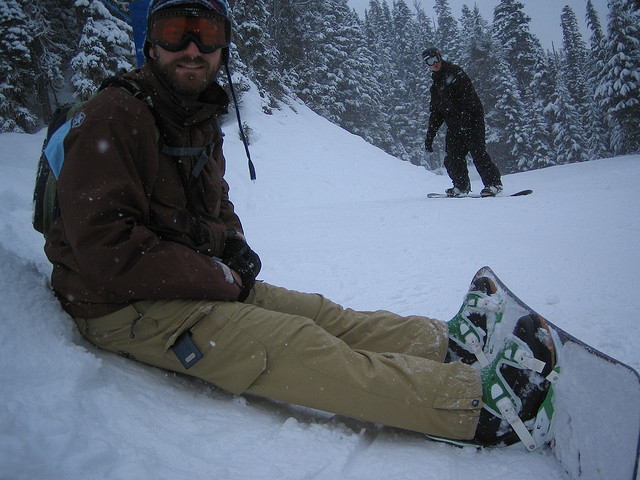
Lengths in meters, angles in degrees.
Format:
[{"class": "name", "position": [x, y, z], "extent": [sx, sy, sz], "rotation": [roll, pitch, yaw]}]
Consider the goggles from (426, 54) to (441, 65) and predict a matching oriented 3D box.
[{"class": "goggles", "position": [1.626, -2.602, 7.808], "extent": [0.142, 0.070, 0.120], "rotation": [-28, 9, 34]}]
